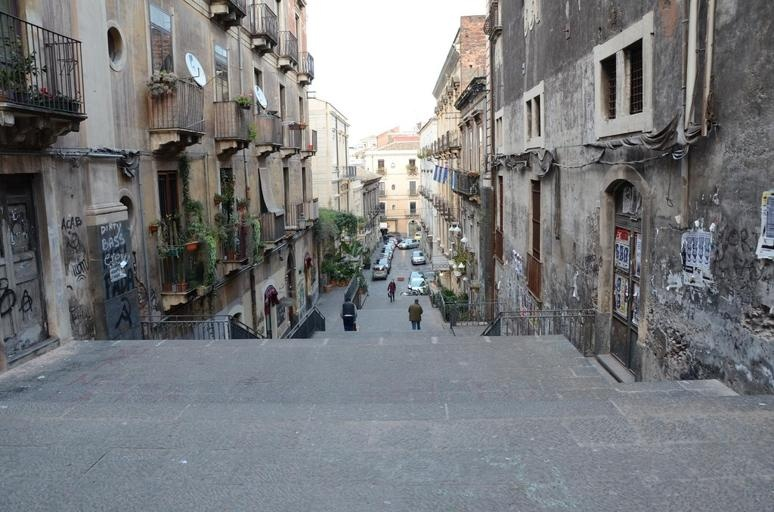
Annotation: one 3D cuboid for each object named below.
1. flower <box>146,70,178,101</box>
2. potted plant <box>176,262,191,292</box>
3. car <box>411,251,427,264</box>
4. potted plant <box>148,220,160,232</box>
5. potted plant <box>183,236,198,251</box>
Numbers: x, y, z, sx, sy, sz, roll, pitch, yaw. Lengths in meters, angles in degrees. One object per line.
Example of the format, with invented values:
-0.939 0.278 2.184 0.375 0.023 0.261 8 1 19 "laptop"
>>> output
-5.552 -4.282 13.856 0.652 0.702 0.517 -21 -21 2 "flower"
-5.313 0.548 14.442 0.373 0.732 0.173 -4 6 -30 "potted plant"
3.584 0.222 59.624 1.273 1.156 2.975 -1 -1 1 "car"
-5.884 -0.743 13.993 0.226 0.195 0.089 10 -1 -41 "potted plant"
-5.173 -0.329 14.654 0.280 0.220 0.285 -15 26 -32 "potted plant"
